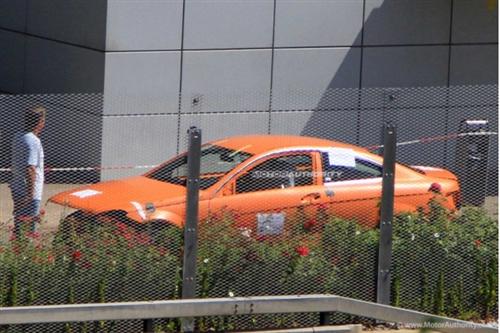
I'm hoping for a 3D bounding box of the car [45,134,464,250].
[{"bbox_3d":[0.113,0.349,15.944,5.342,1.445,2.176,2,6,-11],"label":"car"}]

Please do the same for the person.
[{"bbox_3d":[-3.325,0.065,15.539,0.488,1.878,0.403,1,-10,-2],"label":"person"}]
